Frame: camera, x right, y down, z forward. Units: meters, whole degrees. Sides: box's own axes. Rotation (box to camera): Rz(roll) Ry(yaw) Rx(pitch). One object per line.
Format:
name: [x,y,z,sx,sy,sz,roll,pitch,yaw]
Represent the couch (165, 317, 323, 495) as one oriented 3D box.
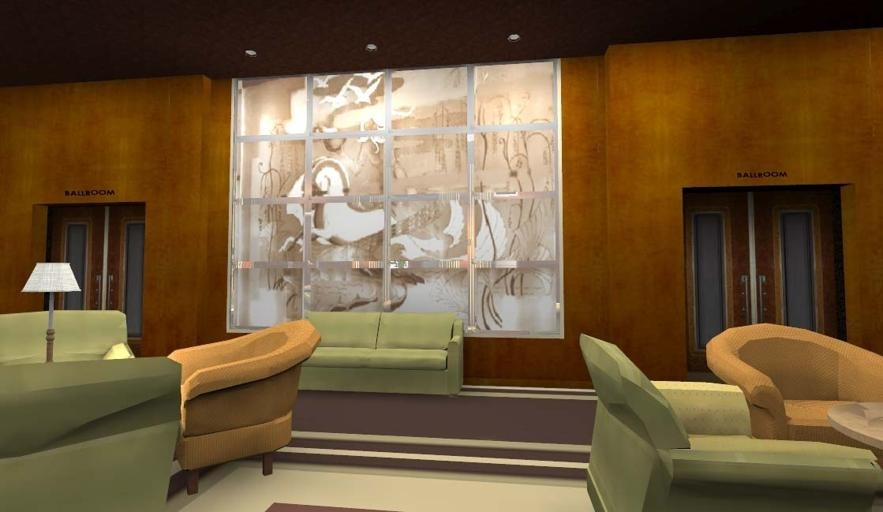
couch: [-2.229,1.639,7.662,1.567,1.743,1.083,-4,4,-22]
